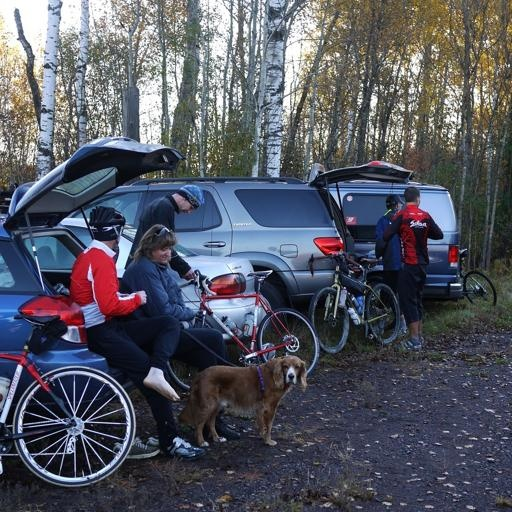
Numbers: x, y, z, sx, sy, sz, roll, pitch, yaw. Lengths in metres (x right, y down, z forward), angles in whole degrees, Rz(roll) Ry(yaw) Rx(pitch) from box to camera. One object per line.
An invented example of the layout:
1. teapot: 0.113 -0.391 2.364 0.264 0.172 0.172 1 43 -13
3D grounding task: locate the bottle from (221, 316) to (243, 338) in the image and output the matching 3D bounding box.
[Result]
1. bottle: -0.243 0.715 6.949 0.138 0.226 0.073 -36 14 45

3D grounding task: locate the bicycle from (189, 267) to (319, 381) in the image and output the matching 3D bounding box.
1. bicycle: -0.112 0.754 7.466 0.765 0.967 1.587 -28 -20 35

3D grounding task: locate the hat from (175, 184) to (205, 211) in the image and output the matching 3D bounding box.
1. hat: -0.654 -0.646 7.029 0.269 0.226 0.223 25 15 -6

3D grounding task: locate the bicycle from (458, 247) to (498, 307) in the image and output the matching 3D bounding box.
1. bicycle: 4.412 0.446 13.577 0.701 0.913 0.826 4 6 19

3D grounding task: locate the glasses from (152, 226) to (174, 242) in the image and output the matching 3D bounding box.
1. glasses: -0.745 -0.193 5.571 0.108 0.034 0.108 -13 -21 24

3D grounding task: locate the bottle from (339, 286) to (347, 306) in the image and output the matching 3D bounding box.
1. bottle: 1.144 0.531 8.948 0.114 0.213 0.047 13 -3 -36

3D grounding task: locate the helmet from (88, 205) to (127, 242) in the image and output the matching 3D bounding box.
1. helmet: -1.132 -0.240 5.211 0.252 0.281 0.321 -3 -5 15

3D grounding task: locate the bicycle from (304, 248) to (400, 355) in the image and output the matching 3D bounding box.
1. bicycle: 1.299 0.632 9.188 0.835 1.158 1.730 -7 -9 41

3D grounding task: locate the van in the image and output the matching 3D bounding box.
1. van: 2.474 -0.395 11.463 2.543 1.430 1.421 3 1 7

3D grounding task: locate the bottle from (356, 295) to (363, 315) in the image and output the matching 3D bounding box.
1. bottle: 1.411 0.655 9.299 0.060 0.211 0.149 -7 -12 43

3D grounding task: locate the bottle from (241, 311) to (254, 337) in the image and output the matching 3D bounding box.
1. bottle: -0.073 0.704 7.179 0.057 0.204 0.197 1 1 22
